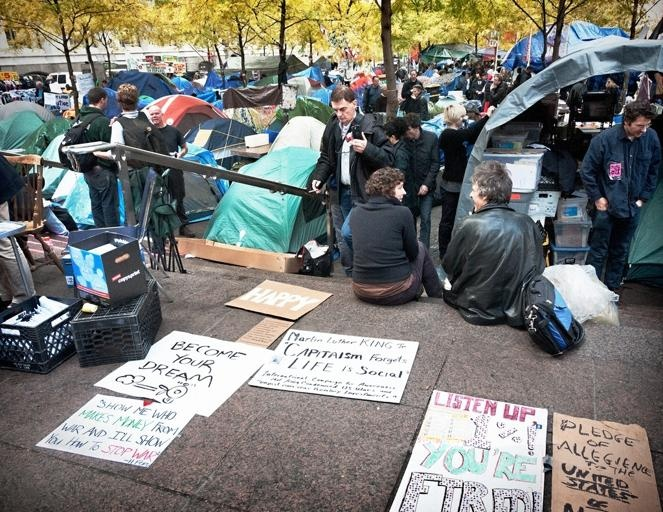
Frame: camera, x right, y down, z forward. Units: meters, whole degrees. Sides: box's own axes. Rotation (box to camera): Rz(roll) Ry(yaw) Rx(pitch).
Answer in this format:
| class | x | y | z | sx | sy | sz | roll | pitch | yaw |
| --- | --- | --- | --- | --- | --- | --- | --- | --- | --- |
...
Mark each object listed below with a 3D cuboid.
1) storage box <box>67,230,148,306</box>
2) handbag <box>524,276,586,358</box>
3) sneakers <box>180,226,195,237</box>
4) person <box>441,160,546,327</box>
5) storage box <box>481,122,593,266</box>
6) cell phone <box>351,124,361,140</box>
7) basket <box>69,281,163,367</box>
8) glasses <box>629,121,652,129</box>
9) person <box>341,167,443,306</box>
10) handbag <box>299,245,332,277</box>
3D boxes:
| class | x | y | z | sx | sy | sz | roll | pitch | yaw |
| --- | --- | --- | --- | --- | --- | --- | --- | --- | --- |
| storage box | -1.916 | 0.114 | 4.088 | 0.504 | 0.470 | 0.365 | 16 | 29 | 28 |
| handbag | 1.786 | 0.489 | 3.910 | 0.455 | 0.586 | 0.249 | -19 | -17 | -34 |
| sneakers | -2.373 | -0.381 | 7.923 | 0.223 | 0.147 | 0.448 | -11 | 22 | -17 |
| person | 1.454 | 0.075 | 4.386 | 0.882 | 0.977 | 0.612 | 5 | 23 | 22 |
| storage box | 2.726 | -0.761 | 6.720 | 1.534 | 1.933 | 2.034 | 8 | 36 | 24 |
| cell phone | 0.288 | -1.385 | 5.435 | 0.111 | 0.150 | 0.207 | -4 | 21 | 0 |
| basket | -1.811 | 0.743 | 4.177 | 0.556 | 0.466 | 0.946 | -2 | 21 | -4 |
| glasses | 3.255 | -1.376 | 5.086 | 0.132 | 0.069 | 0.171 | -3 | 10 | 10 |
| person | 0.597 | -0.143 | 4.766 | 0.856 | 1.354 | 0.550 | -16 | 24 | -27 |
| handbag | -0.231 | 0.074 | 6.064 | 0.427 | 0.408 | 0.311 | 5 | 20 | 23 |
